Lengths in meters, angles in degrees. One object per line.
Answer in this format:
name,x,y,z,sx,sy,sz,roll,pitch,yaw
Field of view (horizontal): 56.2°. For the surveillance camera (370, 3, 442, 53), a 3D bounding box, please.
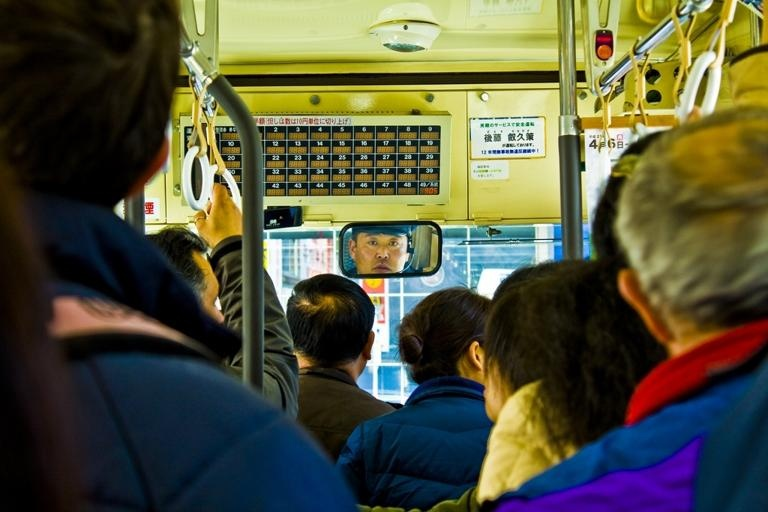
surveillance camera,0.077,-0.856,2.718,0.244,0.123,0.263,-3,5,-30
